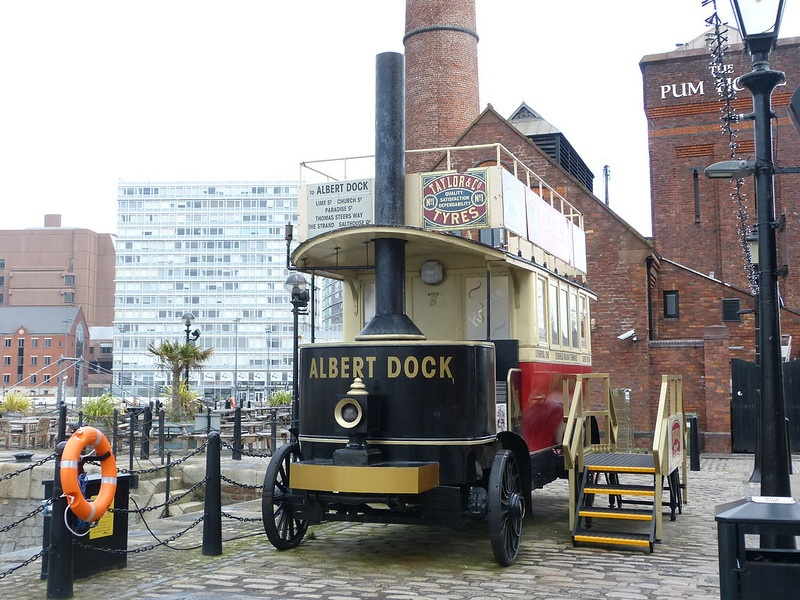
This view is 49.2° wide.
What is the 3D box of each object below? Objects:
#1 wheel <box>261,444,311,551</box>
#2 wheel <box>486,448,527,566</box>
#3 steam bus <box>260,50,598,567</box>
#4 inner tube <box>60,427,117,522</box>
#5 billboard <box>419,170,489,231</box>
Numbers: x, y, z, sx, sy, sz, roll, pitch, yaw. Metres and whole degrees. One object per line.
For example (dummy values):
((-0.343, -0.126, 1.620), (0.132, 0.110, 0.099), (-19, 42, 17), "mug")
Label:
((-1.543, 2.748, 12.049), (0.452, 1.450, 1.013), (-1, -7, 5), "wheel")
((1.462, 2.812, 11.760), (0.430, 1.594, 1.562), (0, 7, 18), "wheel")
((0.672, -0.108, 13.570), (3.309, 7.666, 5.463), (-4, -8, 31), "steam bus")
((-3.741, 2.149, 10.626), (0.387, 1.143, 0.788), (-2, -7, 19), "inner tube")
((0.912, -1.539, 13.632), (1.007, 0.918, 0.141), (0, 1, 28), "billboard")
